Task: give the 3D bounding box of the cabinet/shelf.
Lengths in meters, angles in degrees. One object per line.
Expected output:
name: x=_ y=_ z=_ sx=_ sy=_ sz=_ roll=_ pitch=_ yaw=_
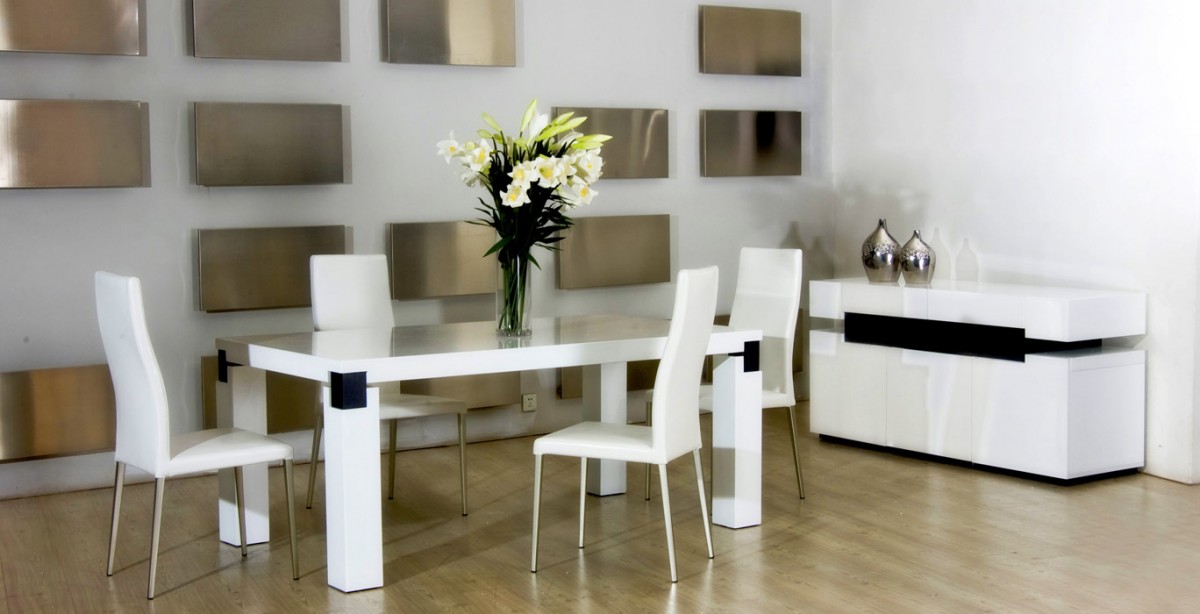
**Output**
cabinet/shelf: x=3.105 y=0.568 z=7.270 sx=2.508 sy=1.449 sz=0.760 roll=5 pitch=14 yaw=32
